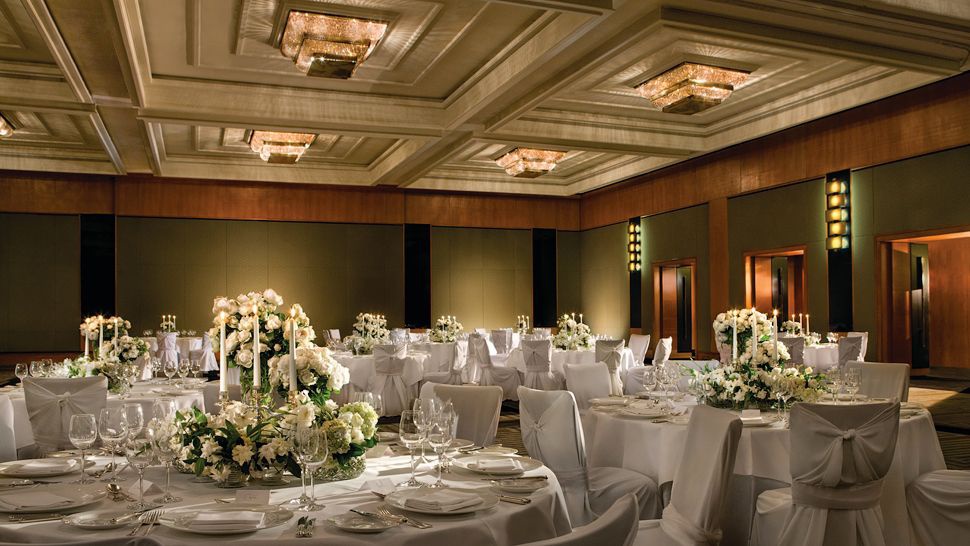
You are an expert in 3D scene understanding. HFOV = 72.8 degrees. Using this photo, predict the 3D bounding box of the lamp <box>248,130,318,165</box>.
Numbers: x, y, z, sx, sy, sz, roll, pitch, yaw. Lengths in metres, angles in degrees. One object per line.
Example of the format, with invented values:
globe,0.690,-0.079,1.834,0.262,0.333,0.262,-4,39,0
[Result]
lamp,-4.189,-2.554,13.293,1.381,0.623,0.986,8,14,37

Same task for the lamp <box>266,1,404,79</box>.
lamp,-2.222,-3.305,9.333,1.030,0.290,0.985,6,-39,-18

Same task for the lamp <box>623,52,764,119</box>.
lamp,3.385,-3.106,11.034,1.219,0.421,1.054,9,-21,-33
